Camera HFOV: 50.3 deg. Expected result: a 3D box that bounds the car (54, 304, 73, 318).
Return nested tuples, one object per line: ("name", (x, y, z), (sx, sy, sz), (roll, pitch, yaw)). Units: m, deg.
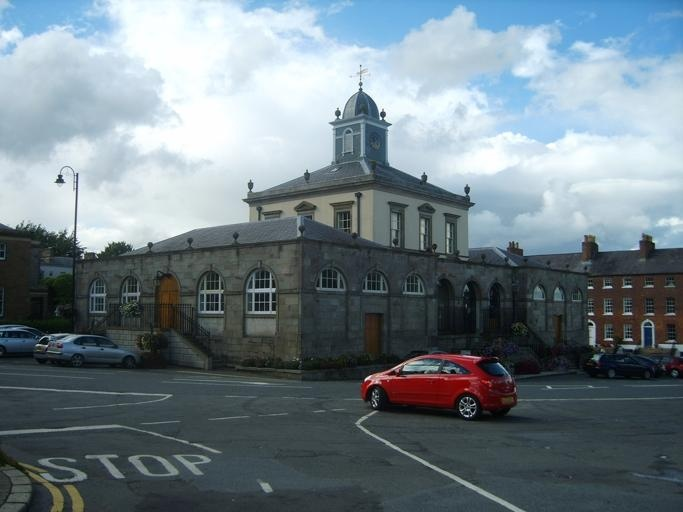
("car", (-25.539, 5.106, 67.038), (1.693, 0.902, 2.386), (3, -9, -31))
